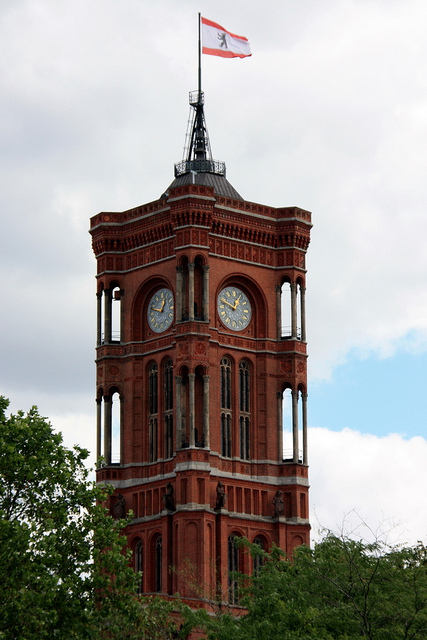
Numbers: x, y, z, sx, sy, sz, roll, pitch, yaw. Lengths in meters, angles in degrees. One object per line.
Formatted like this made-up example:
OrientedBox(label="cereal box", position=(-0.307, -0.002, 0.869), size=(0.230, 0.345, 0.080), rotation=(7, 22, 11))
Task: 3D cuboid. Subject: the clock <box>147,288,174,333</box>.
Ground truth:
OrientedBox(label="clock", position=(-2.747, -0.612, 94.509), size=(0.176, 2.594, 2.299), rotation=(13, 20, 38))
